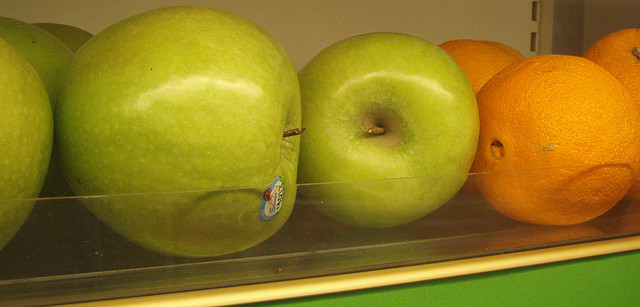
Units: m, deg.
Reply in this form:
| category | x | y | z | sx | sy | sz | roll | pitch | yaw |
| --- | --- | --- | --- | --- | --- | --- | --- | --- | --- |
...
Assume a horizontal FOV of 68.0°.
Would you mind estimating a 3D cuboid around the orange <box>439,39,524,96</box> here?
| category | x | y | z | sx | sy | sz | roll | pitch | yaw |
| --- | --- | --- | --- | --- | --- | --- | --- | --- | --- |
| orange | 0.368 | -0.220 | 1.088 | 0.176 | 0.108 | 0.151 | 4 | -7 | 0 |
